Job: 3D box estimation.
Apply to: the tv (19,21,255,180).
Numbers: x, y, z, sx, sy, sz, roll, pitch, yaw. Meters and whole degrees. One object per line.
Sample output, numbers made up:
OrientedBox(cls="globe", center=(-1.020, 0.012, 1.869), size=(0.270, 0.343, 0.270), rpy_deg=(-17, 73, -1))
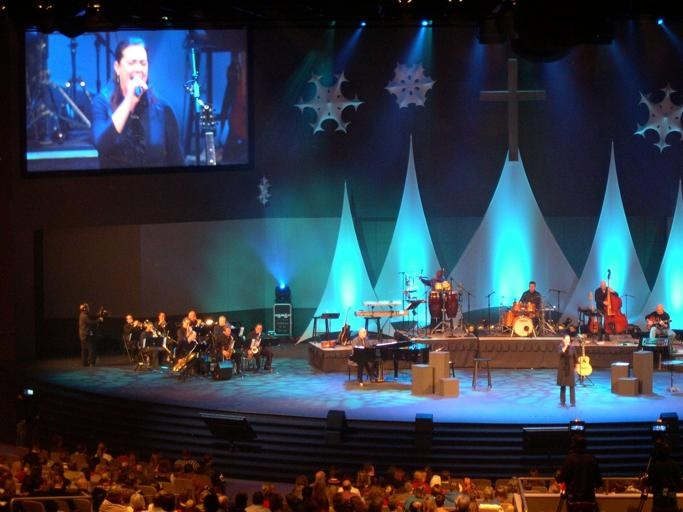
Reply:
OrientedBox(cls="tv", center=(-6.212, -4.510, 23.517), size=(7.440, 4.321, 0.367), rpy_deg=(-4, 4, -2))

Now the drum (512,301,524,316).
OrientedBox(cls="drum", center=(4.796, 1.458, 22.560), size=(0.332, 0.362, 0.328), rpy_deg=(4, -20, 2))

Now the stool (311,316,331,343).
OrientedBox(cls="stool", center=(-0.658, 2.179, 24.156), size=(0.786, 0.997, 0.743), rpy_deg=(1, -10, -6))

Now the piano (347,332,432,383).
OrientedBox(cls="piano", center=(1.058, 2.433, 20.052), size=(1.551, 0.887, 1.407), rpy_deg=(0, 0, 24))

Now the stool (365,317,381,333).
OrientedBox(cls="stool", center=(0.905, 1.966, 23.521), size=(0.505, 0.482, 0.502), rpy_deg=(-1, -7, 8))

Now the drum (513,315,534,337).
OrientedBox(cls="drum", center=(4.838, 1.887, 22.184), size=(0.754, 0.729, 0.485), rpy_deg=(0, 1, 6))

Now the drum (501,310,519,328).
OrientedBox(cls="drum", center=(4.527, 1.748, 22.554), size=(0.450, 0.468, 0.433), rpy_deg=(18, -11, -32))

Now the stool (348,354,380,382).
OrientedBox(cls="stool", center=(0.538, 2.805, 20.363), size=(0.634, 0.763, 1.099), rpy_deg=(-1, -4, 8))

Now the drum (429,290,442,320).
OrientedBox(cls="drum", center=(2.642, 1.394, 23.004), size=(0.436, 0.796, 0.371), rpy_deg=(2, 0, 20))

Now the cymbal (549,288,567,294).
OrientedBox(cls="cymbal", center=(6.284, 1.034, 24.108), size=(0.423, 0.149, 0.528), rpy_deg=(1, -1, 32))

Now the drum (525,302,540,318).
OrientedBox(cls="drum", center=(5.245, 1.517, 22.613), size=(0.425, 0.414, 0.411), rpy_deg=(6, -17, -14))

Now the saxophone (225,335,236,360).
OrientedBox(cls="saxophone", center=(-2.878, 2.315, 20.955), size=(0.200, 0.688, 0.409), rpy_deg=(2, -1, 39))

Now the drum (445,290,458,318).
OrientedBox(cls="drum", center=(3.065, 1.370, 22.930), size=(0.346, 0.752, 0.292), rpy_deg=(2, 0, 8))
